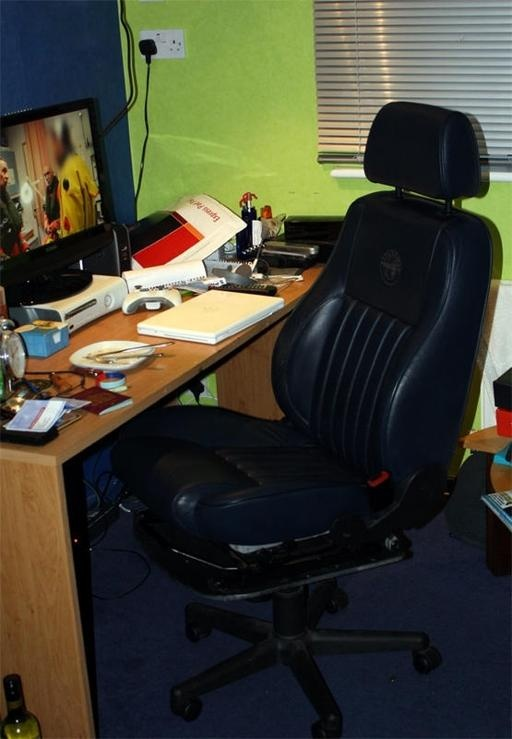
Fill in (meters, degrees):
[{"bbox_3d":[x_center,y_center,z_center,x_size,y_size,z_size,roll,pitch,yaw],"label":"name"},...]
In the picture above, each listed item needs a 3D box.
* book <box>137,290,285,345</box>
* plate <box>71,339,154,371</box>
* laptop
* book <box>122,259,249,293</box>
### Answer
[{"bbox_3d":[-0.096,-0.132,1.323,0.155,0.031,0.226,10,26,26],"label":"book"},{"bbox_3d":[-0.273,-0.031,1.113,0.095,0.021,0.083,4,24,16],"label":"plate"},{"bbox_3d":[-0.092,-0.128,1.319,0.155,0.030,0.226,10,24,26],"label":"laptop"},{"bbox_3d":[-0.195,-0.249,1.557,0.245,0.075,0.051,-15,-12,-23],"label":"book"}]
